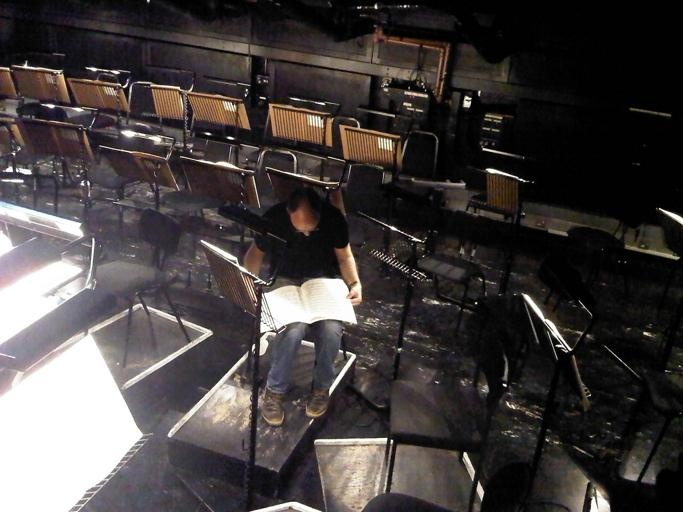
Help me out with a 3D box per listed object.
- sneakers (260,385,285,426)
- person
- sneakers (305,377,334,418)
[{"bbox_3d":[-0.452,0.957,3.582,0.101,0.191,0.268,11,12,-24],"label":"sneakers"},{"bbox_3d":[-0.270,0.282,3.751,0.776,1.460,0.880,3,16,-11],"label":"person"},{"bbox_3d":[-0.154,0.948,3.628,0.113,0.119,0.288,7,24,7],"label":"sneakers"}]
